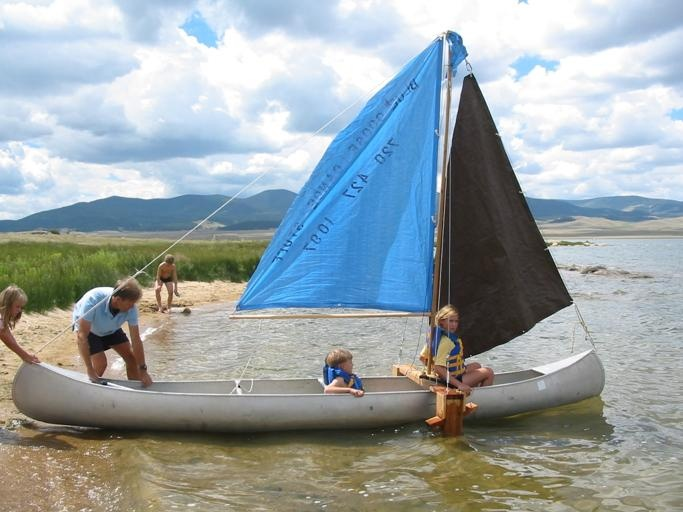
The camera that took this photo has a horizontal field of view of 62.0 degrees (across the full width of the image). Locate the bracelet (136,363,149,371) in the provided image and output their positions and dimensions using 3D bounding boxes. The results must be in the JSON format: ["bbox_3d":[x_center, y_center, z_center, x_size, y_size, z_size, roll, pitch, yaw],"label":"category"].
[{"bbox_3d":[-3.491,1.950,9.983,0.151,0.134,0.145,0,-8,-16],"label":"bracelet"}]

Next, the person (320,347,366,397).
[{"bbox_3d":[0.003,2.167,10.136,0.652,0.969,0.781,-6,3,2],"label":"person"}]

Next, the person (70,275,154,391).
[{"bbox_3d":[-3.940,1.326,9.720,1.154,1.933,1.039,-2,7,-24],"label":"person"}]
